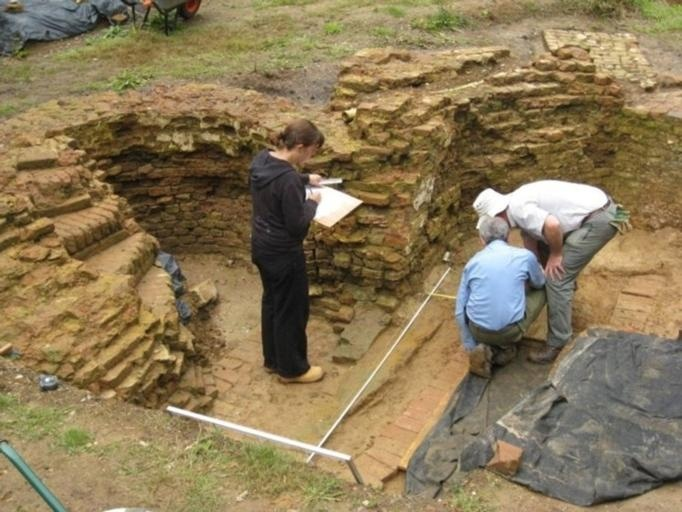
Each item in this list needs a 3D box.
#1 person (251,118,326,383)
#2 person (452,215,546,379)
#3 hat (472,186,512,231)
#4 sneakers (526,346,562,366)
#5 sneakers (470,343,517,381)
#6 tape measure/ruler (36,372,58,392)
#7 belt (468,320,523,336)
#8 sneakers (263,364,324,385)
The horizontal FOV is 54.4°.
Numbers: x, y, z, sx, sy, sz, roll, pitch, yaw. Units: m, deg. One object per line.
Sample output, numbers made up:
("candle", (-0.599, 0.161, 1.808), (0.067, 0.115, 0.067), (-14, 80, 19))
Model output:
("person", (-0.531, 0.056, 6.644), (0.661, 2.759, 0.836), (7, 36, 17))
("person", (1.653, 0.412, 6.719), (1.083, 1.567, 0.923), (-13, 22, -20))
("hat", (1.509, -0.452, 6.780), (0.384, 0.129, 0.380), (-43, 49, 0))
("sneakers", (2.002, 0.986, 6.583), (0.337, 0.136, 0.139), (2, 34, 11))
("sneakers", (1.460, 0.996, 6.521), (0.261, 0.181, 0.470), (9, 22, 33))
("tape measure/ruler", (-2.551, 1.086, 5.798), (0.164, 0.101, 0.206), (-18, 36, -20))
("belt", (1.495, 0.701, 6.390), (0.277, 0.079, 0.213), (-6, 28, 0))
("sneakers", (-0.515, 1.273, 7.172), (0.600, 0.246, 0.192), (-8, 39, -3))
